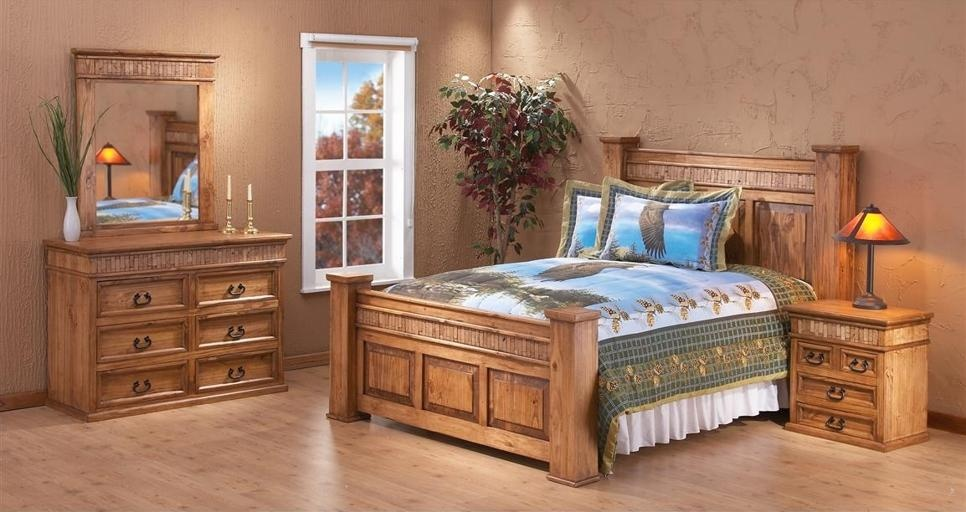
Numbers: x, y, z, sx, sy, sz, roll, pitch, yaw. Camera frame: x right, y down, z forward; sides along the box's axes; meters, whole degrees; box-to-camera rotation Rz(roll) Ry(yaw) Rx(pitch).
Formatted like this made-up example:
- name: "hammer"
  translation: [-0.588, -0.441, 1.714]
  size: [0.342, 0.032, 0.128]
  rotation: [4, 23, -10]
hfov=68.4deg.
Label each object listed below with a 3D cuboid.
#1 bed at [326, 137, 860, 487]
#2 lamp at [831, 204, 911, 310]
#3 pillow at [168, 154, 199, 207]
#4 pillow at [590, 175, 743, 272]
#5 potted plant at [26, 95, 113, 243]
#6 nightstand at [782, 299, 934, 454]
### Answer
- name: "bed"
  translation: [1.212, 0.169, 6.105]
  size: [3.738, 2.007, 2.917]
  rotation: [-4, 6, -44]
- name: "lamp"
  translation: [3.114, -0.003, 5.681]
  size: [0.533, 0.787, 0.428]
  rotation: [-9, 14, -38]
- name: "pillow"
  translation: [-2.701, -0.673, 6.519]
  size: [0.125, 0.374, 0.333]
  rotation: [23, 7, 38]
- name: "pillow"
  translation: [1.561, -0.263, 6.264]
  size: [1.319, 0.678, 0.133]
  rotation: [9, 4, 41]
- name: "potted plant"
  translation: [-3.552, -0.761, 6.139]
  size: [0.425, 1.203, 0.492]
  rotation: [3, 12, 20]
- name: "nightstand"
  translation: [2.909, 0.925, 5.579]
  size: [1.062, 1.013, 0.488]
  rotation: [4, 12, 23]
